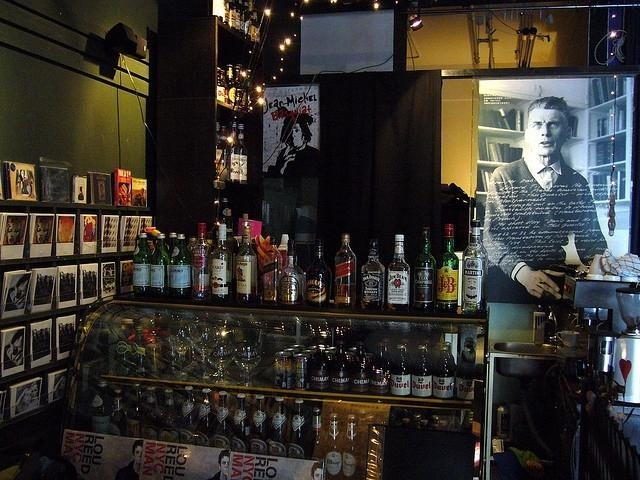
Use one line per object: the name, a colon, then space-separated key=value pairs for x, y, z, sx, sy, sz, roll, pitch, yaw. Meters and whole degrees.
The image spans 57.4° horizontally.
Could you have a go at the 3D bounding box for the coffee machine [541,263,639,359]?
coffee machine: x=1.705 y=0.399 z=3.741 sx=0.302 sy=0.466 sz=0.448 roll=0 pitch=-4 yaw=12

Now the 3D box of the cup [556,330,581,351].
cup: x=1.728 y=0.698 z=4.061 sx=0.088 sy=0.083 sz=0.123 roll=2 pitch=-4 yaw=-1

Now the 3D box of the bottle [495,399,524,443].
bottle: x=1.338 y=1.287 z=4.154 sx=0.218 sy=0.277 sz=0.102 roll=2 pitch=-1 yaw=26
